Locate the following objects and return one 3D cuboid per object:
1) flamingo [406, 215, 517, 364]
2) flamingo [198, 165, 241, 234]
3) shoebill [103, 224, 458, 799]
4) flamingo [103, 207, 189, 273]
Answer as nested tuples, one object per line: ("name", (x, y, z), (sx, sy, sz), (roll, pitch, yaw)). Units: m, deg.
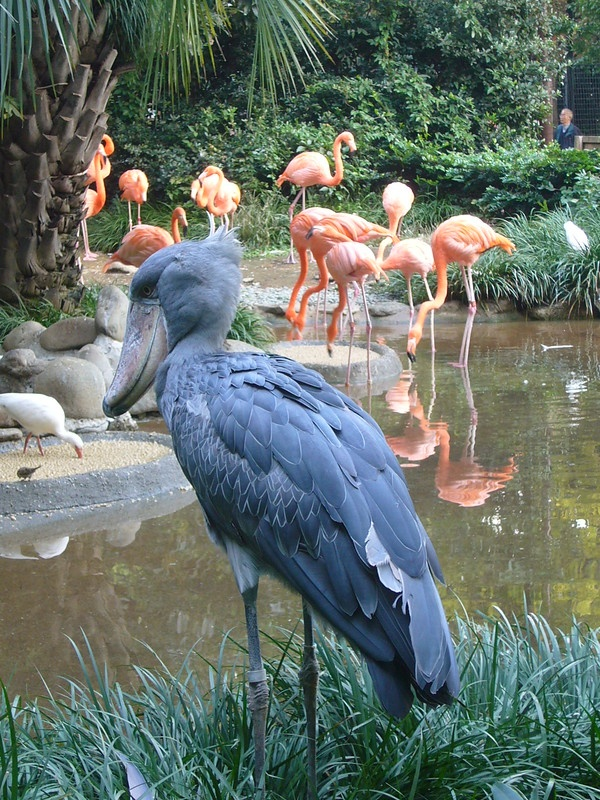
("flamingo", (1.564, -1.143, 9.942), (1.739, 1.466, 0.430), (-22, 19, -34))
("flamingo", (-1.225, -3.098, 15.124), (0.693, 0.975, 0.418), (-11, 29, -27))
("shoebill", (-0.029, 0.255, 2.291), (0.417, 1.338, 0.913), (-5, 7, -37))
("flamingo", (-1.430, -1.535, 9.536), (0.740, 0.770, 0.339), (19, 10, 15))
